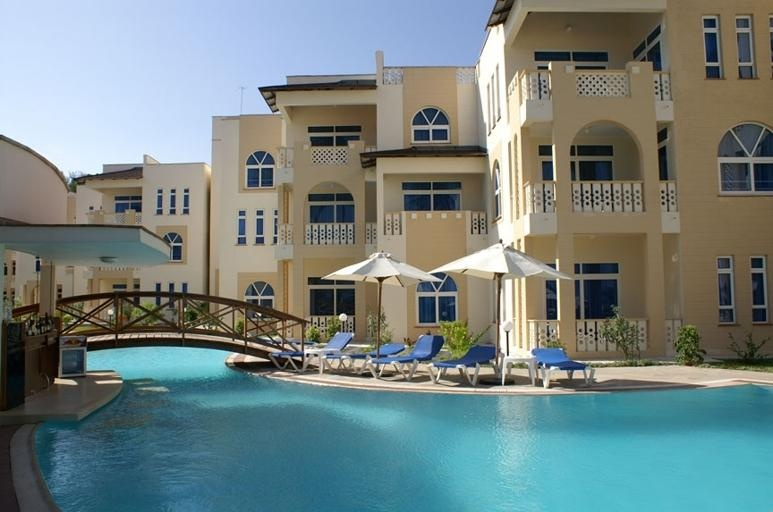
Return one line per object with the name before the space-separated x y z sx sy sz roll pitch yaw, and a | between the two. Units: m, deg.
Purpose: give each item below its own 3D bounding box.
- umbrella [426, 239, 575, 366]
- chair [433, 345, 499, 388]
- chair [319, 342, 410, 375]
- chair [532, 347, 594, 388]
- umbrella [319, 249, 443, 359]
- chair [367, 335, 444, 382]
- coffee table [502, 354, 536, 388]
umbrella | 3.984 1.671 25.152 3.053 4.257 3.321 -6 13 -26
chair | 2.990 3.900 24.681 1.186 0.956 2.097 -5 -4 35
chair | -1.055 3.964 27.156 2.371 0.827 1.341 1 -9 -30
chair | 5.886 3.905 24.241 1.163 0.843 2.020 -2 -7 -9
umbrella | -0.345 2.007 27.012 4.222 4.318 4.438 1 -4 -29
chair | 0.802 3.831 25.985 1.417 1.464 2.610 -7 -8 40
coffee table | 4.655 4.001 24.507 1.058 0.888 1.121 0 -1 3
